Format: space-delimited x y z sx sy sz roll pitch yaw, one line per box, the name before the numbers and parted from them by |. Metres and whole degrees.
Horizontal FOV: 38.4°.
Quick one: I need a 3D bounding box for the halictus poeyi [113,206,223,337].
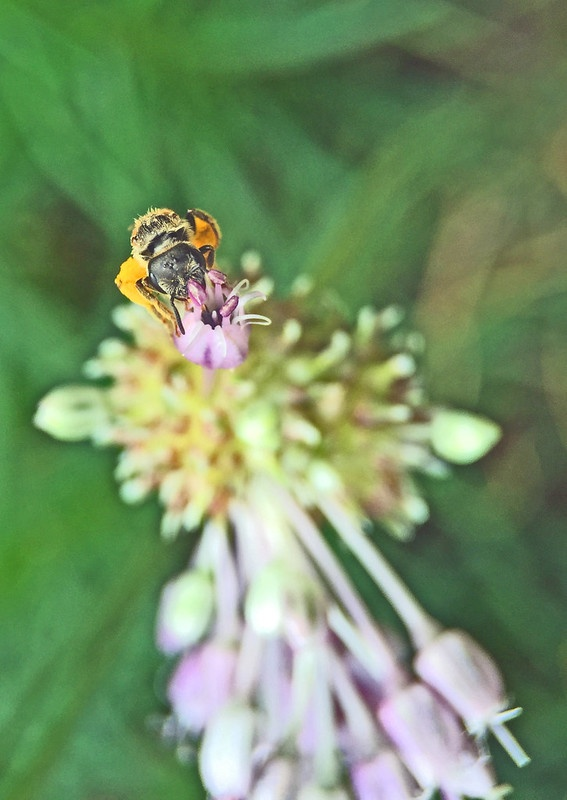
halictus poeyi | -0.101 -0.124 0.722 0.089 0.048 0.110 -22 60 7
